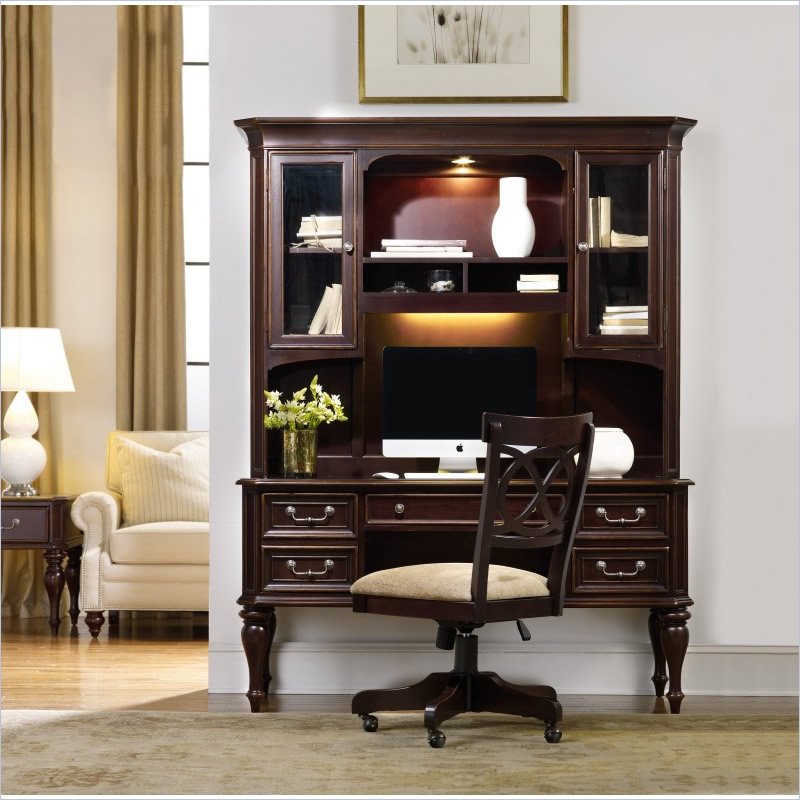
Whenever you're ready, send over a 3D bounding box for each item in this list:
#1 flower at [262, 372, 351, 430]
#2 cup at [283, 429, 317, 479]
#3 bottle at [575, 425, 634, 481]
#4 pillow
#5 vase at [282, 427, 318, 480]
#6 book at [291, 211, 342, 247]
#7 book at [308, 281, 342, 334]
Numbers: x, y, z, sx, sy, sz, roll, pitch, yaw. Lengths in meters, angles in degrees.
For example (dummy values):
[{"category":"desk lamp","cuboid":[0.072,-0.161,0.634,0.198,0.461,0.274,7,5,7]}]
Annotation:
[{"category":"flower","cuboid":[-0.346,0.005,3.798,0.304,0.200,0.321,0,-2,-3]},{"category":"cup","cuboid":[-0.357,0.187,3.705,0.123,0.176,0.102,0,-2,-13]},{"category":"bottle","cuboid":[0.752,0.195,3.678,0.200,0.143,0.193,1,-4,0]},{"category":"pillow","cuboid":[-1.145,0.401,4.895,0.533,0.452,0.157,2,-12,-2]},{"category":"vase","cuboid":[-0.358,0.185,3.669,0.166,0.169,0.162,0,-2,26]},{"category":"book","cuboid":[-0.287,-0.611,3.678,0.144,0.085,0.134,0,2,-2]},{"category":"book","cuboid":[-0.260,-0.328,3.727,0.163,0.157,0.061,12,-4,44]}]
